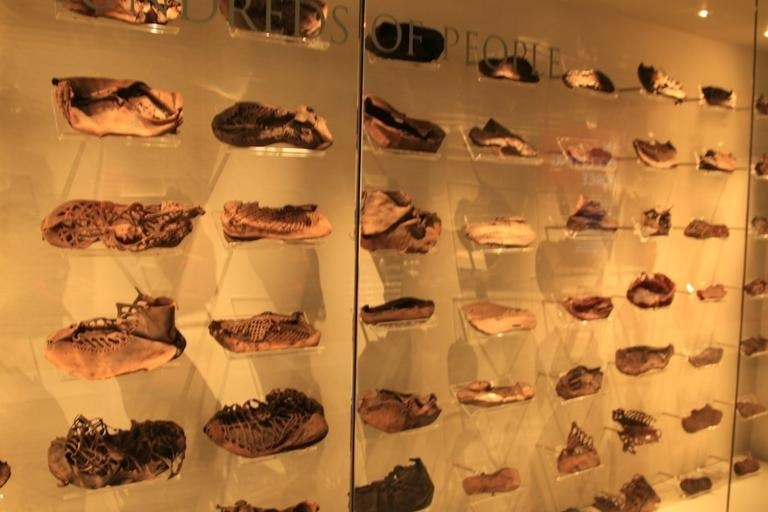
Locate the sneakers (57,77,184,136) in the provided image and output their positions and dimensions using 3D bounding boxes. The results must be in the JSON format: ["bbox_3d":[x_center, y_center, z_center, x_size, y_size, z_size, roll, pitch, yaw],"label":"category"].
[{"bbox_3d":[-0.988,-0.555,2.364,0.341,0.206,0.116,5,-13,-18],"label":"sneakers"}]

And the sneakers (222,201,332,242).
[{"bbox_3d":[-0.430,-0.144,2.551,0.421,0.169,0.078,-7,21,-15],"label":"sneakers"}]

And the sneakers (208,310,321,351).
[{"bbox_3d":[-0.476,0.263,2.557,0.307,0.112,0.178,-3,10,-16],"label":"sneakers"}]

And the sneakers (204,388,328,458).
[{"bbox_3d":[-0.462,0.644,2.500,0.430,0.230,0.154,-1,-25,-21],"label":"sneakers"}]

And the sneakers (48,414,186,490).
[{"bbox_3d":[-0.985,0.725,2.379,0.397,0.247,0.162,-3,-24,-19],"label":"sneakers"}]
